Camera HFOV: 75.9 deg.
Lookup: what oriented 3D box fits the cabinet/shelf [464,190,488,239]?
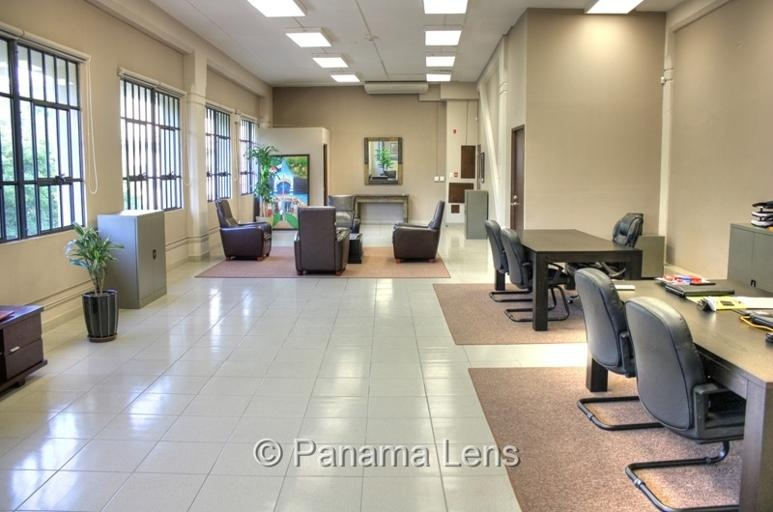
[{"bbox_3d":[2.454,-1.127,13.453,0.608,1.258,0.556,2,14,10],"label":"cabinet/shelf"}]

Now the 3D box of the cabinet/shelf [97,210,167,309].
[{"bbox_3d":[-3.712,0.057,7.095,0.525,1.325,1.473,1,1,0],"label":"cabinet/shelf"}]

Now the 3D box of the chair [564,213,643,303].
[{"bbox_3d":[3.118,-0.005,7.173,0.999,1.185,0.886,1,4,9],"label":"chair"}]

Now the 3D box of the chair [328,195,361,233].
[{"bbox_3d":[-1.201,-1.155,13.294,0.859,1.027,1.072,-1,-1,5],"label":"chair"}]

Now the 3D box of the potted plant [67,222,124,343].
[{"bbox_3d":[-3.764,0.238,6.398,0.592,1.382,1.368,-9,17,-32],"label":"potted plant"}]

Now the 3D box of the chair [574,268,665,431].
[{"bbox_3d":[2.129,0.760,4.243,0.984,1.211,0.960,1,2,28],"label":"chair"}]

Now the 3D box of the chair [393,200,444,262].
[{"bbox_3d":[0.637,-0.511,10.676,1.213,1.296,1.218,1,2,2],"label":"chair"}]

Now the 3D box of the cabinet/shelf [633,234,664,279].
[{"bbox_3d":[4.292,0.012,8.098,0.397,0.725,0.774,0,2,17],"label":"cabinet/shelf"}]

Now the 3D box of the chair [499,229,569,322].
[{"bbox_3d":[1.967,0.251,6.643,0.863,1.138,0.831,0,4,9],"label":"chair"}]

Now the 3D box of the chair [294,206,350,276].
[{"bbox_3d":[-1.279,-0.299,9.028,1.020,1.285,1.245,0,8,5],"label":"chair"}]

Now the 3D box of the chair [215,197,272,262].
[{"bbox_3d":[-3.078,-0.581,10.721,1.261,1.162,1.160,-5,11,-33],"label":"chair"}]

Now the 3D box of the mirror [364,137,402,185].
[{"bbox_3d":[-0.126,-3.254,16.513,1.588,1.737,0.195,0,7,-1],"label":"mirror"}]

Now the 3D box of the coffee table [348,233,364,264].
[{"bbox_3d":[-0.656,-0.161,10.467,0.497,0.437,0.694,0,7,2],"label":"coffee table"}]
